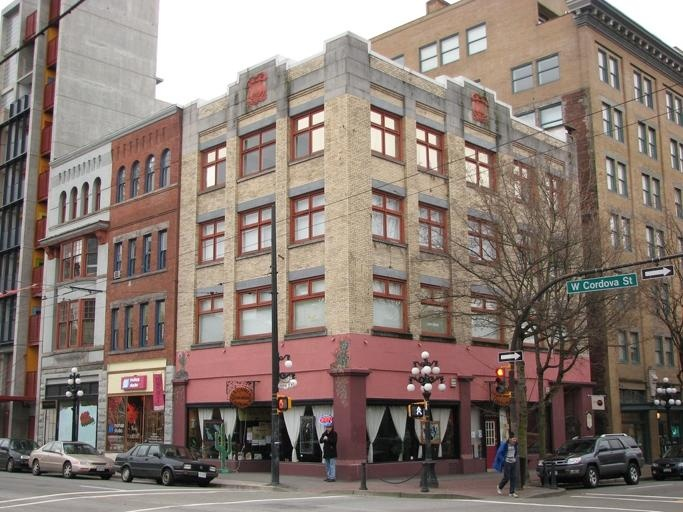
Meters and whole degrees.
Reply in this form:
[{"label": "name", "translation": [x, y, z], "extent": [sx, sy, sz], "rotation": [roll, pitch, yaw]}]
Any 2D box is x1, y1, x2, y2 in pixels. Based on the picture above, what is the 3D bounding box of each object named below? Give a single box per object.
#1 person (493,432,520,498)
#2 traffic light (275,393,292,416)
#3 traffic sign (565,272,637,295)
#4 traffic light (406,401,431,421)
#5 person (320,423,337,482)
[{"label": "person", "translation": [6.840, 8.576, 33.480], "extent": [0.969, 2.475, 1.106], "rotation": [2, -8, -15]}, {"label": "traffic light", "translation": [-2.681, 6.752, 37.229], "extent": [0.648, 0.686, 0.511], "rotation": [4, -21, -17]}, {"label": "traffic sign", "translation": [10.162, 1.061, 31.964], "extent": [2.584, 0.722, 0.872], "rotation": [-10, -22, 21]}, {"label": "traffic light", "translation": [3.346, 6.685, 35.232], "extent": [0.822, 0.753, 0.615], "rotation": [-9, -21, 17]}, {"label": "person", "translation": [-0.586, 9.205, 37.934], "extent": [0.758, 2.592, 0.919], "rotation": [-1, -21, -2]}]
